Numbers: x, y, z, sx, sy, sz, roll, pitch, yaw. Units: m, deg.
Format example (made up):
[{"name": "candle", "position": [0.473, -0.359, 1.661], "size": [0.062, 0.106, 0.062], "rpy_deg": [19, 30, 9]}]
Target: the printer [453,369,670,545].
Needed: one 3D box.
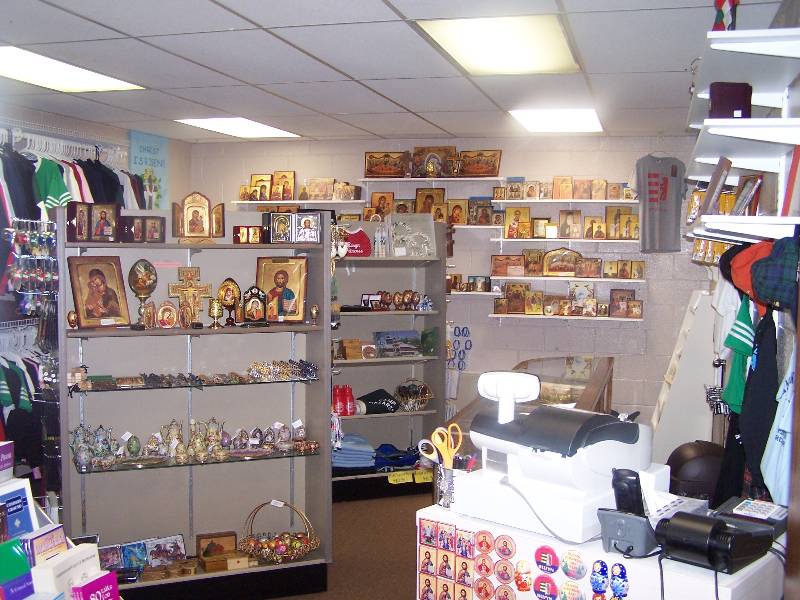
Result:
[{"name": "printer", "position": [0.679, 0.578, 2.651], "size": [0.678, 0.605, 0.664], "rpy_deg": [-3, 5, -37]}]

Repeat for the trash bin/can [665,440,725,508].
[{"name": "trash bin/can", "position": [2.142, 1.228, 4.565], "size": [0.347, 0.340, 0.439], "rpy_deg": [1, 6, 26]}]

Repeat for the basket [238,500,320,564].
[{"name": "basket", "position": [-0.833, 1.572, 4.389], "size": [0.514, 0.340, 0.464], "rpy_deg": [-3, 6, -9]}]

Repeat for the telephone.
[{"name": "telephone", "position": [0.851, 0.791, 2.353], "size": [0.212, 0.285, 0.139], "rpy_deg": [1, 6, 23]}]

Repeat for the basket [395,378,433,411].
[{"name": "basket", "position": [0.131, 0.881, 6.050], "size": [0.293, 0.263, 0.230], "rpy_deg": [-10, 14, -37]}]
